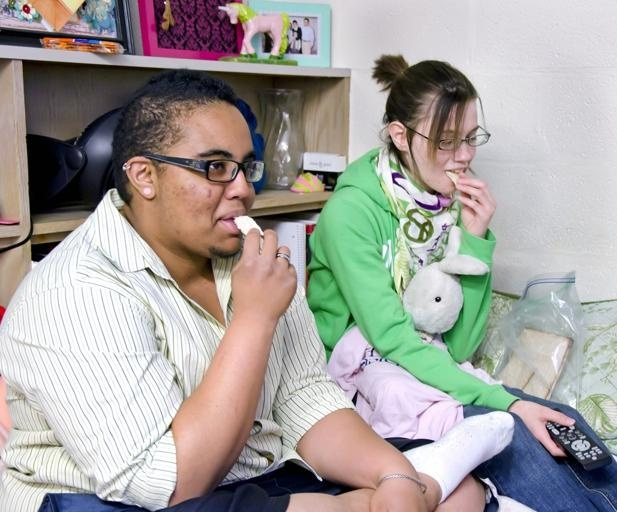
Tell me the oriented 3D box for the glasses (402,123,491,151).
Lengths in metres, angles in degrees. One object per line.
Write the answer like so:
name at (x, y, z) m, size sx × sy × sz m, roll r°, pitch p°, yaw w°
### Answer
glasses at (0.383, -0.345, 1.410) m, size 0.106 × 0.033 × 0.112 m, roll -14°, pitch 33°, yaw -36°

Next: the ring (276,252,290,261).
ring at (-0.050, 0.000, 0.960) m, size 0.017 × 0.007 × 0.016 m, roll 26°, pitch 5°, yaw -22°

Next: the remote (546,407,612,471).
remote at (0.594, 0.403, 1.086) m, size 0.043 × 0.027 × 0.151 m, roll -20°, pitch 16°, yaw 0°
